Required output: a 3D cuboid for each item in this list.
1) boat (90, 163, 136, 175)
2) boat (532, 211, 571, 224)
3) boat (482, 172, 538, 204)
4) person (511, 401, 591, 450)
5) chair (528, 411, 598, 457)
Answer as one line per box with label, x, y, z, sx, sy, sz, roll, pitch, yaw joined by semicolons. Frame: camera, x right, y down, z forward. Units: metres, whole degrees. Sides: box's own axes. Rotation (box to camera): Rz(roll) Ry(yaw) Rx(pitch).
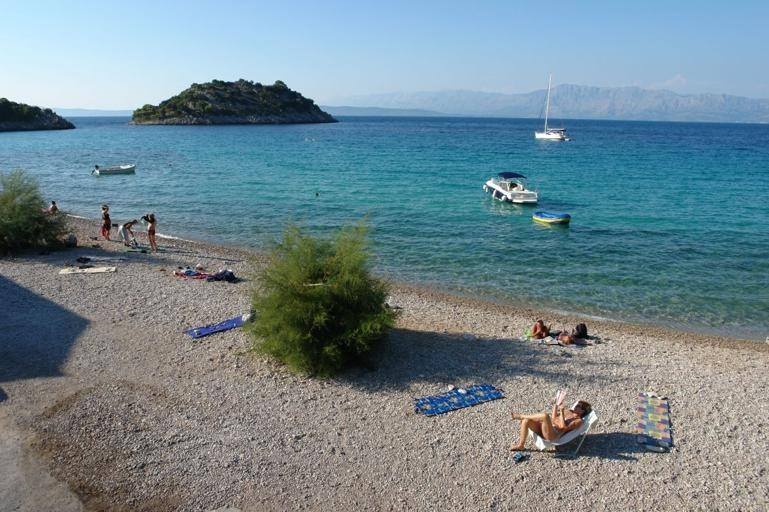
boat;-26.606;-8.522;53.305;3.708;0.895;2.182;-18;26;-42
boat;11.271;-2.619;36.380;1.251;0.862;2.491;-10;22;-27
boat;10.071;-5.433;44.512;2.650;1.390;5.039;-6;17;-10
person;4.789;4.845;15.508;2.547;1.332;0.813;9;-4;-14
chair;5.213;4.994;15.742;1.991;0.918;0.991;-20;19;-9
